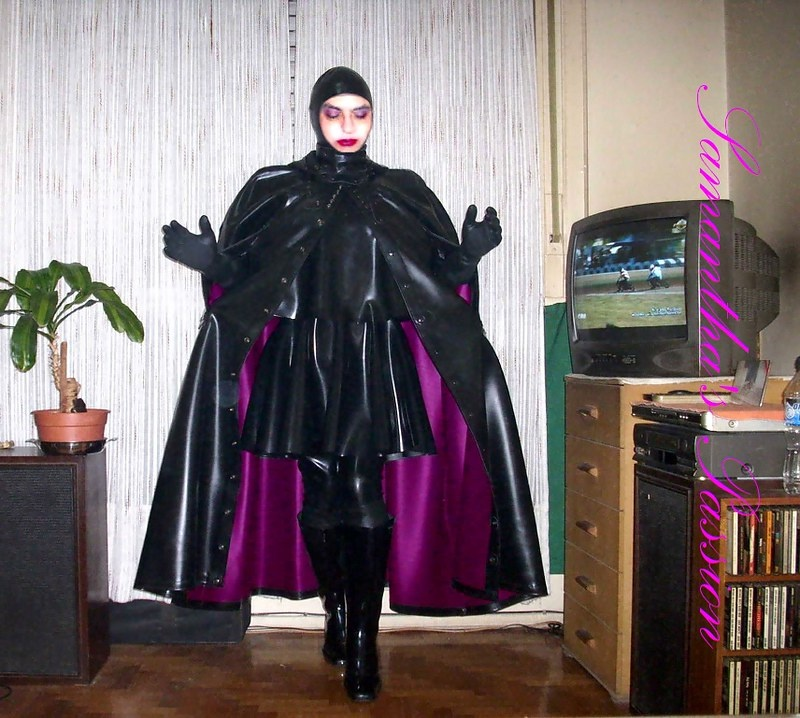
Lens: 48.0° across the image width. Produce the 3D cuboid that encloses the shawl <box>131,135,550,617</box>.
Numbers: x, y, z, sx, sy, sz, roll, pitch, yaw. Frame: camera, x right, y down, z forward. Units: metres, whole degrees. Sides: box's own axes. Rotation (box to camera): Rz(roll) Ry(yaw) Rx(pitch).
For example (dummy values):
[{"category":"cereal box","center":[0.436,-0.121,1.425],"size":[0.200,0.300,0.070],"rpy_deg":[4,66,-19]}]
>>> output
[{"category":"shawl","center":[-0.250,0.074,2.838],"size":[1.482,1.974,0.540],"rpy_deg":[0,2,-5]}]

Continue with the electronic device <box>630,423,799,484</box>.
[{"category":"electronic device","center":[0.895,0.229,2.443],"size":[0.242,0.089,0.227],"rpy_deg":[10,-6,-26]}]

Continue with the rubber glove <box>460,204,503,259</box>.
[{"category":"rubber glove","center":[0.239,-0.368,2.653],"size":[0.107,0.170,0.169],"rpy_deg":[0,8,-2]}]

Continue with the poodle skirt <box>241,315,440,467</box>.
[{"category":"poodle skirt","center":[-0.158,0.105,2.738],"size":[0.614,0.644,0.385],"rpy_deg":[2,-9,-3]}]

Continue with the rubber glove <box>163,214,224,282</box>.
[{"category":"rubber glove","center":[-0.587,-0.320,2.615],"size":[0.113,0.193,0.263],"rpy_deg":[2,9,12]}]

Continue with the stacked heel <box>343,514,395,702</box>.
[{"category":"stacked heel","center":[-0.098,0.767,2.752],"size":[0.142,0.526,0.155],"rpy_deg":[0,8,0]}]

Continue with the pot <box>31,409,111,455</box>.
[{"category":"pot","center":[-1.040,0.235,2.903],"size":[0.213,0.150,0.226],"rpy_deg":[-1,1,0]}]

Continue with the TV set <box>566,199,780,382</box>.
[{"category":"TV set","center":[0.891,-0.185,2.978],"size":[0.585,0.558,0.649],"rpy_deg":[5,-3,-16]}]
